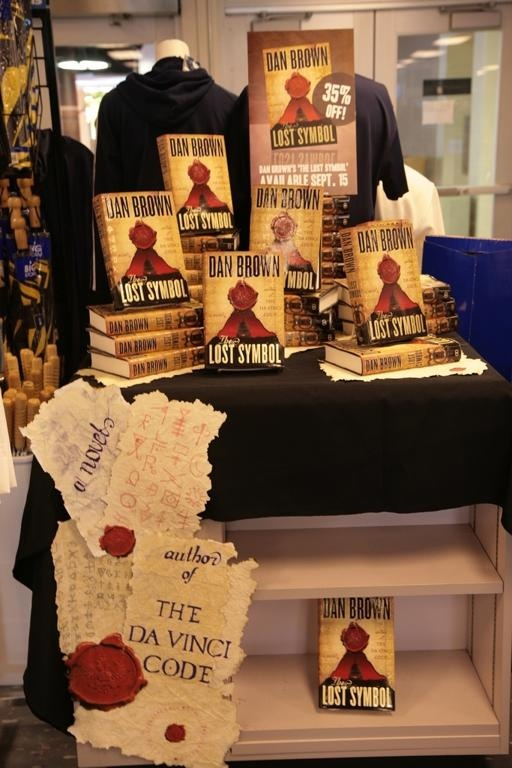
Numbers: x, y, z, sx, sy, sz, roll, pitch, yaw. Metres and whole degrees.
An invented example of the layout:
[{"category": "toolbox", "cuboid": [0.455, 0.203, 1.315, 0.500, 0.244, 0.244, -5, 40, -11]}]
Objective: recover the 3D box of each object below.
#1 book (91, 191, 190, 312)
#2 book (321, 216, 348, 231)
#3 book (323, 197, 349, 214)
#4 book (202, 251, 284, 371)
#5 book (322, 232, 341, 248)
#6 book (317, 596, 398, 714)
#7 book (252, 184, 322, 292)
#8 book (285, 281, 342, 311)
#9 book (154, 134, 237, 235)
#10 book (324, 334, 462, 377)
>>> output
[{"category": "book", "cuboid": [-0.231, -0.280, 1.390, 0.188, 0.233, 0.136, -5, 13, -16]}, {"category": "book", "cuboid": [0.178, -0.363, 1.513, 0.040, 0.010, 0.042, -8, -10, -3]}, {"category": "book", "cuboid": [0.188, -0.401, 1.522, 0.043, 0.014, 0.043, -3, -1, -9]}, {"category": "book", "cuboid": [-0.023, -0.146, 1.375, 0.163, 0.235, 0.055, 1, -6, -6]}, {"category": "book", "cuboid": [0.170, -0.324, 1.508, 0.045, 0.033, 0.013, -8, 14, -28]}, {"category": "book", "cuboid": [0.219, 0.577, 1.464, 0.160, 0.295, 0.031, -1, 14, 5]}, {"category": "book", "cuboid": [0.074, -0.324, 1.534, 0.178, 0.257, 0.060, 5, 47, 14]}, {"category": "book", "cuboid": [0.125, -0.181, 1.450, 0.080, 0.020, 0.083, 12, 29, 42]}, {"category": "book", "cuboid": [-0.130, -0.458, 1.525, 0.170, 0.241, 0.054, -4, 0, -28]}, {"category": "book", "cuboid": [0.269, -0.058, 1.319, 0.135, 0.028, 0.130, -8, 15, -28]}]
